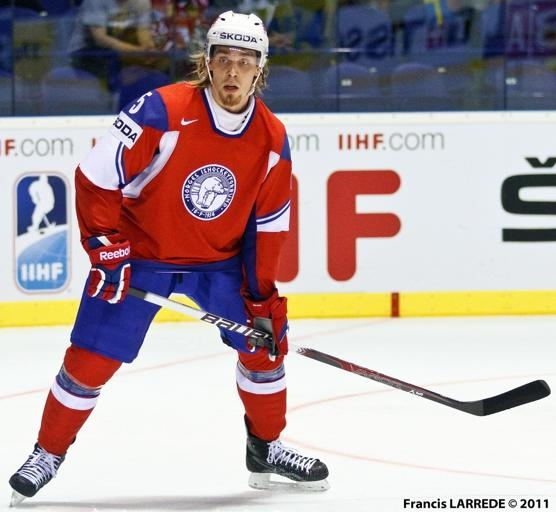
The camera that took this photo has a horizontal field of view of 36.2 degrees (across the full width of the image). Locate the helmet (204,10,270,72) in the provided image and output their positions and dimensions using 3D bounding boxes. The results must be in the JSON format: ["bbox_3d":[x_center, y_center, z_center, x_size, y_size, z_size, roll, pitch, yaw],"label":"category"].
[{"bbox_3d":[-0.124,-0.706,2.819,0.197,0.168,0.197,5,8,-1],"label":"helmet"}]

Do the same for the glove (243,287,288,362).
[{"bbox_3d":[-0.021,0.231,2.925,0.200,0.201,0.099,9,13,31],"label":"glove"}]

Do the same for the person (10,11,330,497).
[{"bbox_3d":[-0.337,0.004,2.805,0.938,1.579,0.443,0,15,-14],"label":"person"}]

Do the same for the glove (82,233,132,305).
[{"bbox_3d":[-0.534,0.044,2.666,0.175,0.185,0.091,-2,13,-19],"label":"glove"}]

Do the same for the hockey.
[{"bbox_3d":[0.289,0.455,3.971,1.302,0.192,0.130,18,-28,2],"label":"hockey"}]
